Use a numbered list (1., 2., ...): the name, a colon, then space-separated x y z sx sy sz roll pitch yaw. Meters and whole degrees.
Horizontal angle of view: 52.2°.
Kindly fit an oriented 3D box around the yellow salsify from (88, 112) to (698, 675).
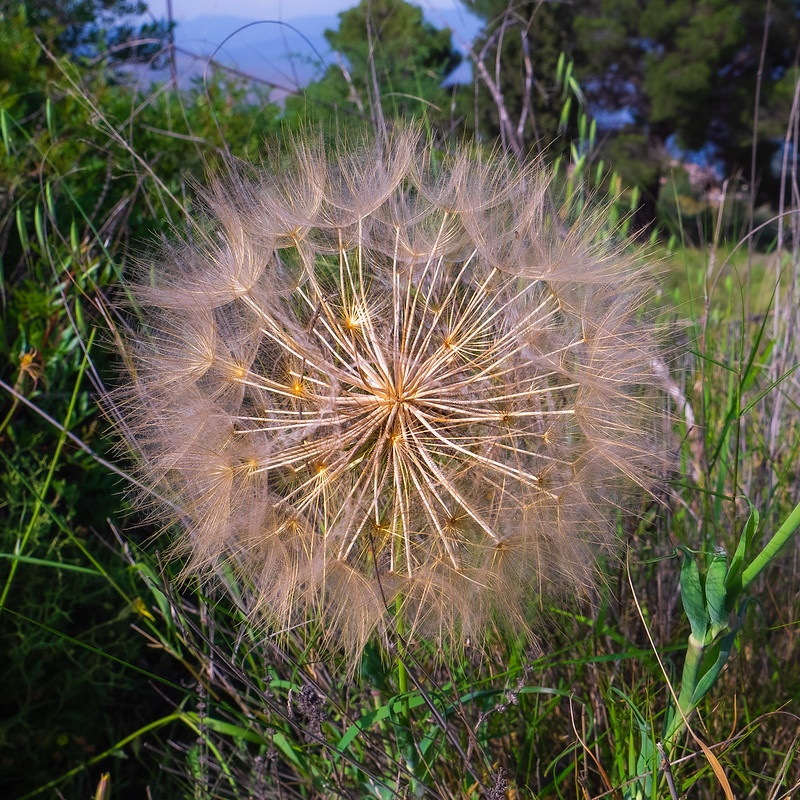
1. yellow salsify: -0.039 0.044 2.926 1.423 0.500 1.798 -2 63 -2
